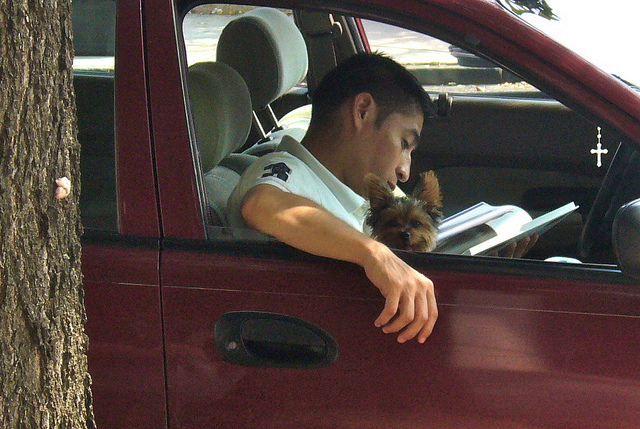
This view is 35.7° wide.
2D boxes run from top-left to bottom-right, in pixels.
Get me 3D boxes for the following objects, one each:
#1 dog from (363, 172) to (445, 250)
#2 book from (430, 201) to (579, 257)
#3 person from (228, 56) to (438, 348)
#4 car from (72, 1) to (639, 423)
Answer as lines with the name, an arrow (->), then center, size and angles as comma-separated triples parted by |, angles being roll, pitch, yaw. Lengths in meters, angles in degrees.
dog -> 0.282, -0.004, 3.447 | 0.270, 0.151, 0.371 | 1, 37, -2
book -> 0.696, -0.010, 3.694 | 0.539, 0.144, 0.417 | -20, 2, 16
person -> 0.043, -0.028, 3.358 | 0.732, 1.265, 0.825 | -3, -12, 13
car -> 0.168, -0.096, 3.867 | 1.962, 1.426, 1.748 | 6, 9, 3
